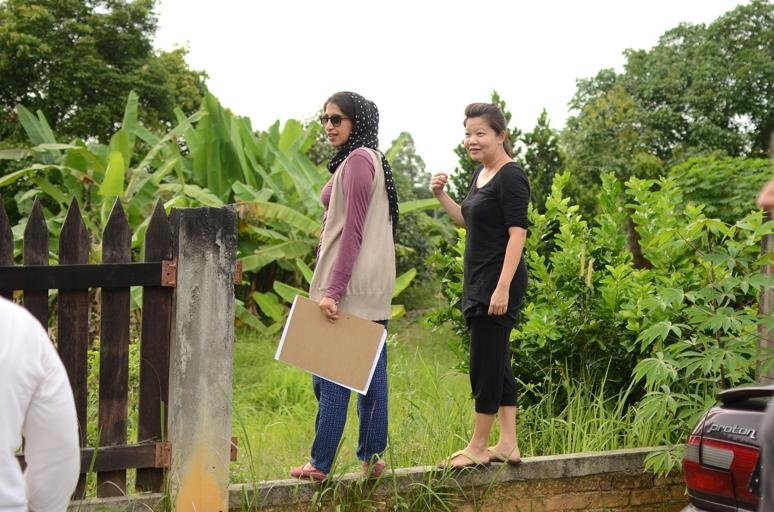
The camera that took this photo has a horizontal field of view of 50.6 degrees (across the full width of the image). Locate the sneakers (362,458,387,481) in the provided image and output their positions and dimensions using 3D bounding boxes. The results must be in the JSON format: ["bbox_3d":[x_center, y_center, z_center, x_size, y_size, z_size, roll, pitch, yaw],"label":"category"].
[{"bbox_3d":[-0.090,1.638,6.296,0.114,0.122,0.189,1,-16,-7],"label":"sneakers"}]

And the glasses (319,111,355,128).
[{"bbox_3d":[-0.394,-1.042,6.352,0.143,0.049,0.152,-2,-7,30],"label":"glasses"}]

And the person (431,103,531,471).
[{"bbox_3d":[0.754,0.238,6.559,0.743,2.858,0.660,1,-8,4],"label":"person"}]

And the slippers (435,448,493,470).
[{"bbox_3d":[0.615,1.603,6.513,0.319,0.117,0.178,3,-9,-10],"label":"slippers"}]

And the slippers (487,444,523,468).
[{"bbox_3d":[0.942,1.596,6.540,0.117,0.093,0.305,2,-8,-39],"label":"slippers"}]

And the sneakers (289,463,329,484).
[{"bbox_3d":[-0.607,1.664,6.335,0.274,0.102,0.120,7,-5,8],"label":"sneakers"}]
